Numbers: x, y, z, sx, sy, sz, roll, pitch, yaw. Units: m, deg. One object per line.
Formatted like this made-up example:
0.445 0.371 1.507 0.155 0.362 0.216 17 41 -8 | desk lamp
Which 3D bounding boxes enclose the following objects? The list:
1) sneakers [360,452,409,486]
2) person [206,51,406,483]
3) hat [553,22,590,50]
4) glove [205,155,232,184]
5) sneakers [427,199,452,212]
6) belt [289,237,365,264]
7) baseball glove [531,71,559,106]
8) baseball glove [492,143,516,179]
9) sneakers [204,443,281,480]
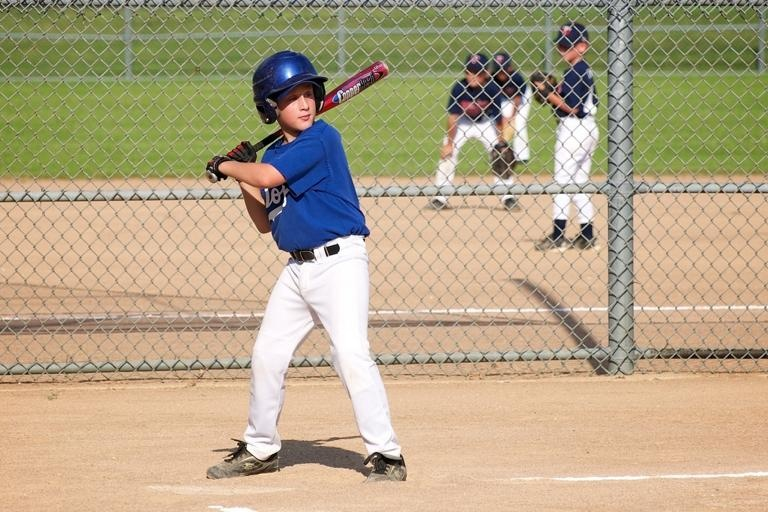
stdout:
0.010 1.679 9.871 0.444 0.272 0.156 -3 9 2 | sneakers
-0.630 0.106 9.888 1.448 3.359 0.597 0 9 0 | person
2.061 -2.359 13.662 0.508 0.252 0.340 -16 28 -31 | hat
-1.306 -0.666 9.847 0.200 0.196 0.164 6 5 19 | glove
0.677 -0.634 16.139 0.216 0.105 0.260 4 1 -1 | sneakers
-0.452 -0.043 9.839 0.580 0.216 0.155 0 9 -1 | belt
1.676 -1.771 13.173 0.337 0.403 0.172 -2 -1 2 | baseball glove
1.471 -1.144 15.548 0.282 0.470 0.685 1 9 5 | baseball glove
-1.066 1.650 10.062 0.748 0.278 0.226 0 1 -6 | sneakers
